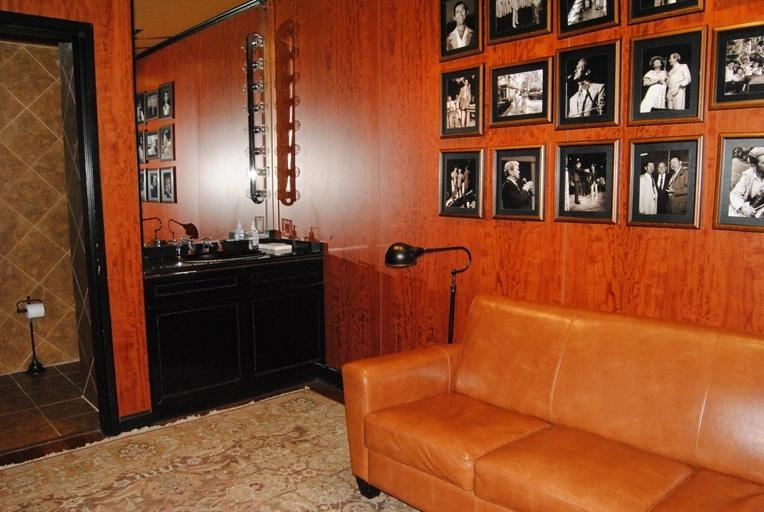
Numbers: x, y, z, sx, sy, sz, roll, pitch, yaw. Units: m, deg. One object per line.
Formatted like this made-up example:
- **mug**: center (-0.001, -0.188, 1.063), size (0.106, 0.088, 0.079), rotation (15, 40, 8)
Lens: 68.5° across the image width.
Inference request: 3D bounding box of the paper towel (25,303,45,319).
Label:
- **paper towel**: center (-3.176, 0.500, 5.096), size (0.142, 0.135, 0.143), rotation (-6, 7, -31)

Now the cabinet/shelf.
- **cabinet/shelf**: center (-1.283, 0.657, 4.623), size (1.289, 0.965, 0.440), rotation (-5, 6, -39)

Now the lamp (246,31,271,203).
- **lamp**: center (-1.203, -1.263, 5.343), size (0.316, 1.382, 0.244), rotation (0, 4, -24)

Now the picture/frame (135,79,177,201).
- **picture/frame**: center (-1.958, -0.985, 4.890), size (0.370, 1.055, 0.130), rotation (-7, 8, -30)
